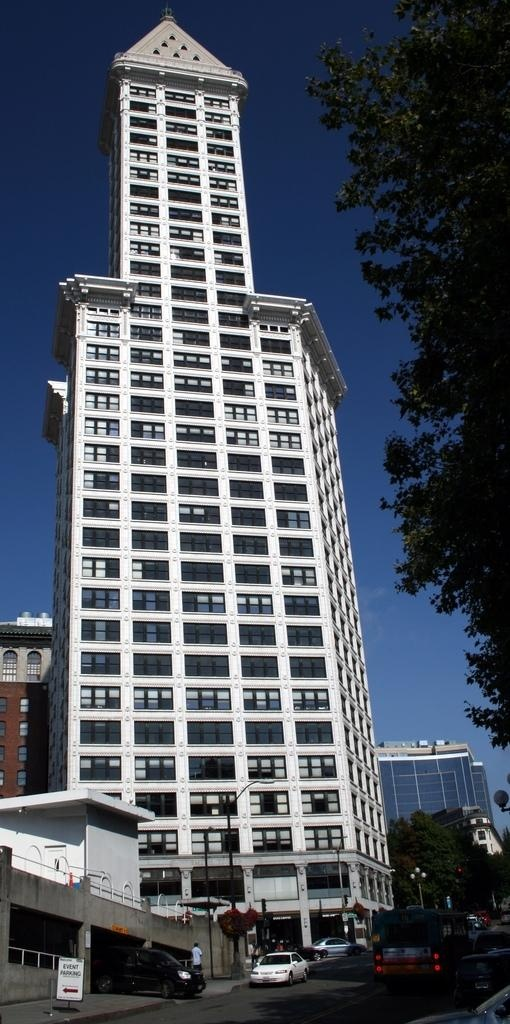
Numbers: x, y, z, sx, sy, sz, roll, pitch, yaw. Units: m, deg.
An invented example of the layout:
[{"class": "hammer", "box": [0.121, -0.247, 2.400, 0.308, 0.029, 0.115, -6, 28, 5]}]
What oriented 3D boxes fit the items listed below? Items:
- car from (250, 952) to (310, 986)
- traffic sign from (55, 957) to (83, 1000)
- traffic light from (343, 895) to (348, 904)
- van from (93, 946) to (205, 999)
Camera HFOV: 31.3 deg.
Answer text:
[{"class": "car", "box": [0.889, 16.231, 32.156, 0.978, 0.764, 2.302, -6, -40, 7]}, {"class": "traffic sign", "box": [-4.589, 11.715, 22.814, 0.710, 1.004, 0.622, -10, -24, 8]}, {"class": "traffic light", "box": [6.671, 28.761, 67.392, 0.283, 0.706, 1.367, -8, -25, 5]}, {"class": "van", "box": [-3.342, 15.257, 29.798, 3.086, 1.455, 1.727, -14, -44, 15]}]
